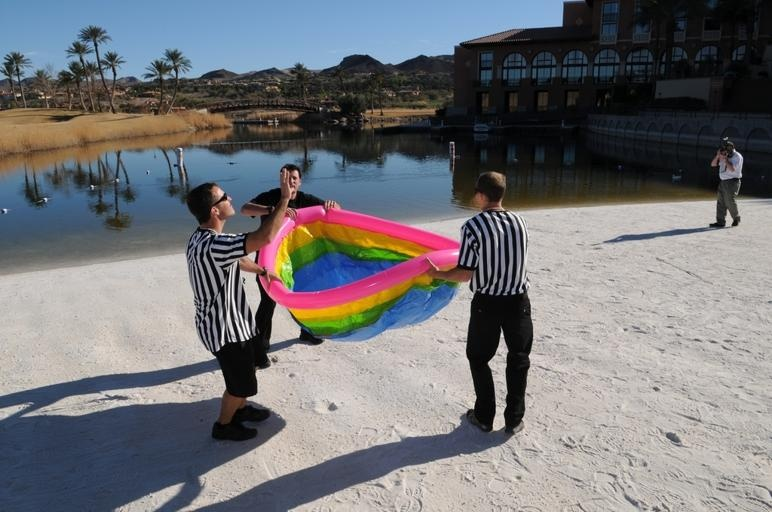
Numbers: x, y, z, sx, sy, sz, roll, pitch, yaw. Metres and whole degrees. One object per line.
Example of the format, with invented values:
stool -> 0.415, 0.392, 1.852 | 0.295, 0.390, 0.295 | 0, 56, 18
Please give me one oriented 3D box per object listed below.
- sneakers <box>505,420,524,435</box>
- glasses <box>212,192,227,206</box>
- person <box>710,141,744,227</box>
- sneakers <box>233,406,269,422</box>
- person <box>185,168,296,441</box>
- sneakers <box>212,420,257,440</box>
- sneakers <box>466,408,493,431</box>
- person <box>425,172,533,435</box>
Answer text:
sneakers -> 1.298, 1.741, 5.057 | 0.152, 0.103, 0.057 | -35, 42, -29
glasses -> -1.560, -0.512, 4.714 | 0.130, 0.035, 0.127 | -27, 19, -6
person -> 7.560, -1.572, 11.035 | 0.687, 1.889, 0.442 | -4, 18, -11
sneakers -> -1.420, 1.676, 5.273 | 0.382, 0.163, 0.145 | -2, 18, -17
person -> -1.420, 0.581, 4.945 | 0.890, 2.548, 0.783 | -8, 19, -21
sneakers -> -1.538, 1.784, 5.143 | 0.443, 0.190, 0.178 | 1, 12, -7
sneakers -> 0.944, 1.718, 5.146 | 0.133, 0.197, 0.289 | -30, 37, -27
person -> 1.044, 0.663, 4.995 | 0.817, 2.216, 0.500 | 5, 19, 18
